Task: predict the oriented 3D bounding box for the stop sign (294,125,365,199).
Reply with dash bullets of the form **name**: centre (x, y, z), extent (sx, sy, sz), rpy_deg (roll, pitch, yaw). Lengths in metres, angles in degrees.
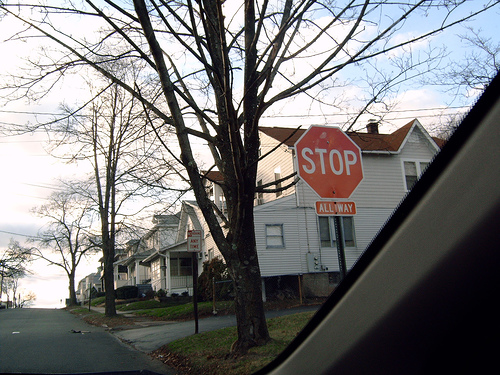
- **stop sign**: centre (1.055, -0.364, 7.028), extent (0.993, 1.090, 0.242), rpy_deg (-4, -12, -18)
